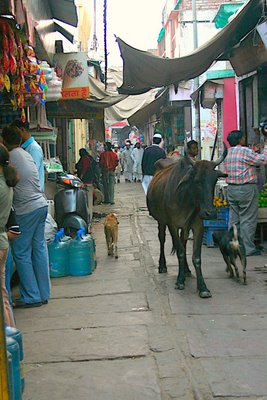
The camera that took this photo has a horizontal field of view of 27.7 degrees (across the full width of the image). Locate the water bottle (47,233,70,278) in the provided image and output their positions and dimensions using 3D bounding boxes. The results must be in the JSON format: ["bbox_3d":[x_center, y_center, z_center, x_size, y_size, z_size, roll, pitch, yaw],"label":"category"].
[{"bbox_3d":[-0.981,0.715,7.025,0.296,0.568,0.304,-3,1,0],"label":"water bottle"}]

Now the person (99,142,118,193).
[{"bbox_3d":[-0.808,-1.111,17.667,0.580,1.548,2.038,-2,6,-2],"label":"person"}]

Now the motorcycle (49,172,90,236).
[{"bbox_3d":[-1.084,0.119,8.848,0.690,1.160,1.671,-1,3,-16],"label":"motorcycle"}]

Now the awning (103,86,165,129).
[{"bbox_3d":[-0.005,-3.139,17.811,2.420,0.757,1.643,-31,32,-31],"label":"awning"}]

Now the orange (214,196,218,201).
[{"bbox_3d":[1.289,-0.023,8.557,0.087,0.037,0.095,-6,-30,2],"label":"orange"}]

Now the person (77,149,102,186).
[{"bbox_3d":[-1.021,-0.811,13.013,0.514,0.939,0.916,-4,-4,17],"label":"person"}]

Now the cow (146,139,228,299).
[{"bbox_3d":[0.570,0.184,6.630,0.679,1.733,2.245,-2,6,-10],"label":"cow"}]
